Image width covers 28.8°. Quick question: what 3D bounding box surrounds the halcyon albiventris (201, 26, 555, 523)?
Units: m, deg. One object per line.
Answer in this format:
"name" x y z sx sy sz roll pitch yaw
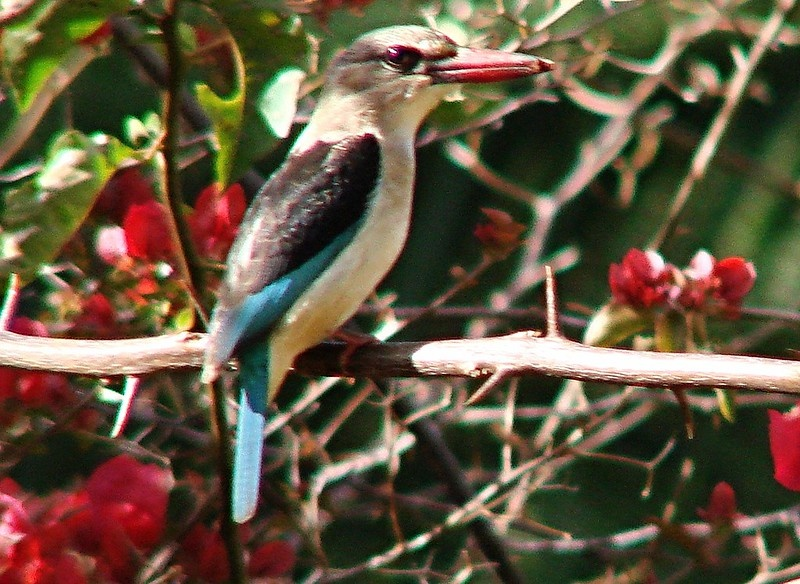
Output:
"halcyon albiventris" -0.125 -0.077 3.669 0.701 0.808 0.425 6 4 -20

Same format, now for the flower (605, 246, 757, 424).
"flower" 0.698 0.092 3.865 0.395 0.423 0.252 0 6 0
